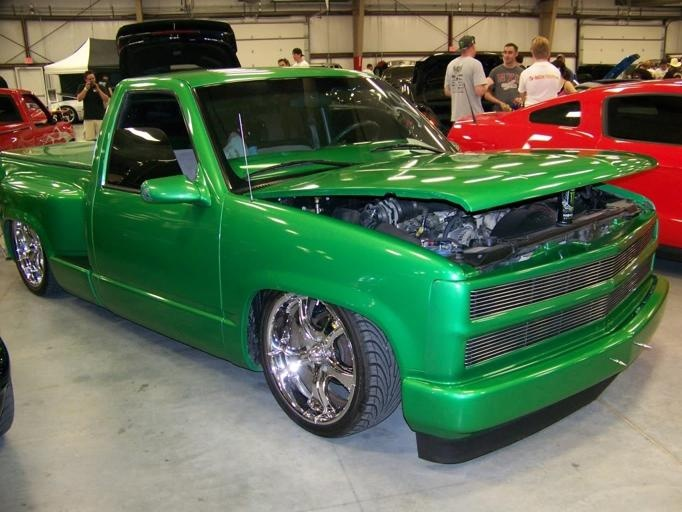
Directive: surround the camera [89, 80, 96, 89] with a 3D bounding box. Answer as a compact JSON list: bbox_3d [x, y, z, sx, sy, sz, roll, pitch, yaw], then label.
[{"bbox_3d":[-5.475,-3.779,10.735,0.145,0.100,0.044,6,11,6],"label":"camera"}]
